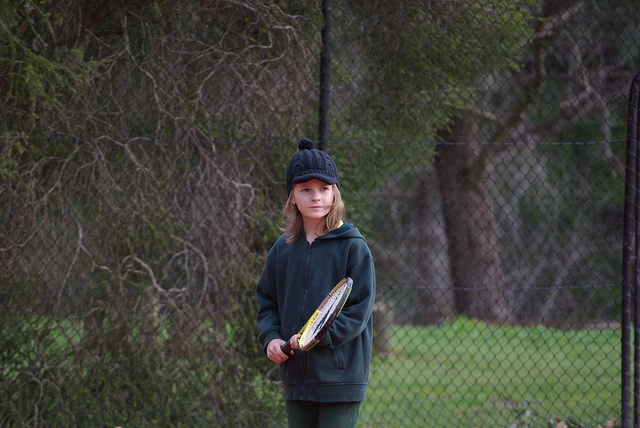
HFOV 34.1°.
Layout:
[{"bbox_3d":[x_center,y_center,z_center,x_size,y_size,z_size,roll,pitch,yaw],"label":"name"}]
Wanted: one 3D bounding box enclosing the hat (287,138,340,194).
[{"bbox_3d":[-0.068,-0.397,9.014,0.272,0.410,0.472,-1,-12,-7],"label":"hat"}]
